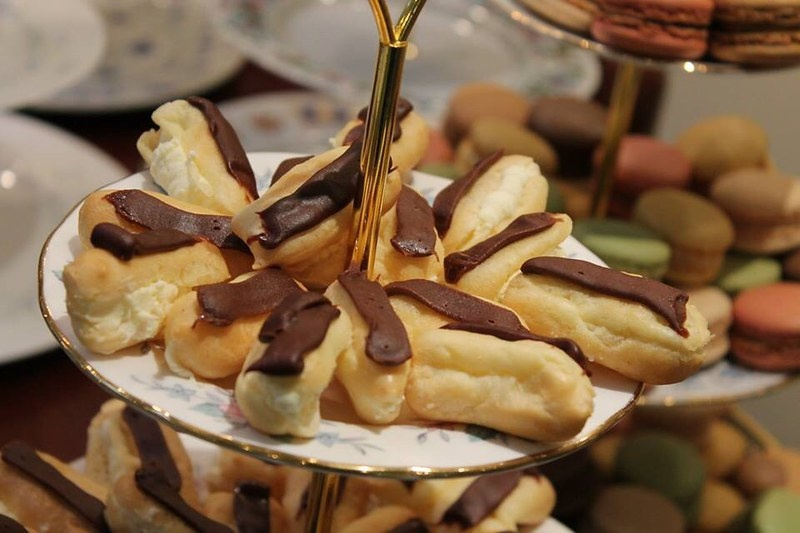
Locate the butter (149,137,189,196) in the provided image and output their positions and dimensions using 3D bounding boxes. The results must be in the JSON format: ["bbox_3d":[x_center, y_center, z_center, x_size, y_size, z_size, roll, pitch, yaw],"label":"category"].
[{"bbox_3d":[-0.237,-0.107,0.822,0.045,0.058,0.025,12,18,20],"label":"butter"}]

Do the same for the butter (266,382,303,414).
[{"bbox_3d":[-0.097,0.111,0.656,0.025,0.013,0.022,-5,82,-4],"label":"butter"}]
